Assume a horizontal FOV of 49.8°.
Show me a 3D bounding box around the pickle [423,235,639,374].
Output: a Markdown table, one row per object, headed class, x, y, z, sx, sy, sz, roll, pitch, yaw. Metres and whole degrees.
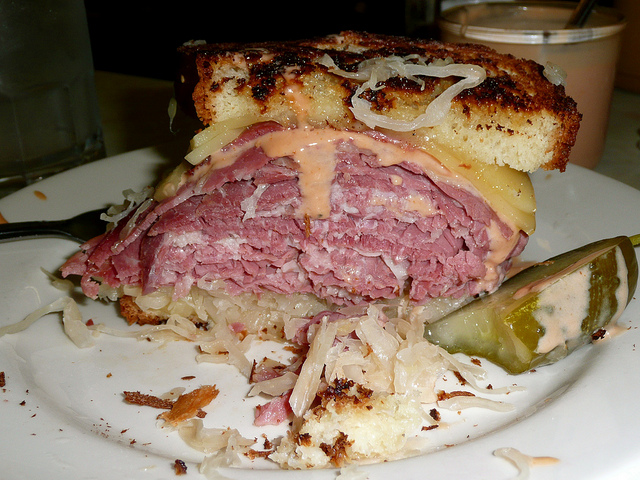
| class | x | y | z | sx | sy | sz | roll | pitch | yaw |
| --- | --- | --- | --- | --- | --- | --- | --- | --- | --- |
| pickle | 0.791 | 0.233 | 2.550 | 0.576 | 0.555 | 0.532 | 3 | 16 | 12 |
